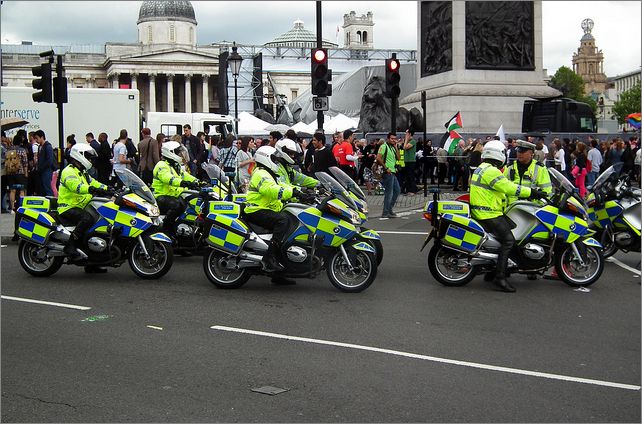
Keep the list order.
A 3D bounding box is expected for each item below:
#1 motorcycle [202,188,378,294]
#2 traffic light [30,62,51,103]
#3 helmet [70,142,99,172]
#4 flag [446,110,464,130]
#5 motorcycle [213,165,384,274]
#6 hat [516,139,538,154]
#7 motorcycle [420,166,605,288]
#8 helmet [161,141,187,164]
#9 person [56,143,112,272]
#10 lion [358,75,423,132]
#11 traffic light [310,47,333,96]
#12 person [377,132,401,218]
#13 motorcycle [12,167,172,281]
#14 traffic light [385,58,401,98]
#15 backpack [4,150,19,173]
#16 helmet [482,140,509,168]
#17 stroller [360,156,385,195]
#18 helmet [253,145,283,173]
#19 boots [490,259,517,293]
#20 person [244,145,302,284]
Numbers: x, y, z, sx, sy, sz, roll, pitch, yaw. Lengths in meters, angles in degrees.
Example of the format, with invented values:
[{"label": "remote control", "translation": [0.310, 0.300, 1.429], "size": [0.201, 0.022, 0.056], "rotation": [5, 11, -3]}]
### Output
[{"label": "motorcycle", "translation": [-0.395, 0.516, 10.265], "size": [2.954, 1.761, 1.234], "rotation": [-1, 2, 4]}, {"label": "traffic light", "translation": [-7.072, -3.258, 15.829], "size": [0.472, 0.926, 1.529], "rotation": [-4, 10, -23]}, {"label": "helmet", "translation": [-4.018, -0.955, 10.646], "size": [0.540, 0.522, 0.414], "rotation": [-5, 7, -8]}, {"label": "flag", "translation": [5.009, -3.368, 23.380], "size": [0.486, 0.721, 1.201], "rotation": [1, 9, 9]}, {"label": "motorcycle", "translation": [-0.433, 0.189, 9.463], "size": [2.914, 1.580, 0.856], "rotation": [1, 4, 9]}, {"label": "hat", "translation": [3.382, -1.060, 10.176], "size": [0.297, 0.135, 0.267], "rotation": [11, 2, -37]}, {"label": "motorcycle", "translation": [2.989, 0.302, 9.690], "size": [3.019, 1.835, 0.949], "rotation": [1, 4, 11]}, {"label": "helmet", "translation": [-2.700, -1.068, 11.344], "size": [0.380, 0.438, 0.374], "rotation": [-2, 9, -13]}, {"label": "person", "translation": [-4.070, -0.121, 10.742], "size": [1.027, 2.164, 0.709], "rotation": [2, 0, -5]}, {"label": "lion", "translation": [3.994, -4.851, 31.424], "size": [4.516, 2.616, 2.170], "rotation": [6, -5, -34]}, {"label": "traffic light", "translation": [0.015, -3.917, 17.528], "size": [0.522, 1.358, 0.904], "rotation": [0, 9, 0]}, {"label": "person", "translation": [1.886, -1.049, 17.743], "size": [0.789, 2.327, 0.661], "rotation": [1, 0, 28]}, {"label": "motorcycle", "translation": [-3.688, 0.300, 10.372], "size": [3.039, 1.766, 0.895], "rotation": [1, 4, 4]}, {"label": "traffic light", "translation": [2.032, -3.762, 17.565], "size": [0.356, 1.145, 0.648], "rotation": [1, 9, 9]}, {"label": "backpack", "translation": [-8.877, -1.453, 17.948], "size": [0.402, 0.699, 0.199], "rotation": [-4, 9, -23]}, {"label": "helmet", "translation": [2.781, -0.907, 9.929], "size": [0.391, 0.367, 0.330], "rotation": [1, -2, -43]}, {"label": "stroller", "translation": [1.805, -1.514, 22.770], "size": [0.745, 1.094, 1.848], "rotation": [1, 12, 7]}, {"label": "helmet", "translation": [-0.809, -0.798, 9.606], "size": [0.414, 0.404, 0.343], "rotation": [1, 11, -2]}, {"label": "boots", "translation": [2.831, 0.961, 9.608], "size": [0.349, 0.489, 0.213], "rotation": [4, 9, 22]}, {"label": "person", "translation": [-0.786, -0.057, 9.870], "size": [1.226, 2.252, 0.693], "rotation": [0, 1, 2]}]
